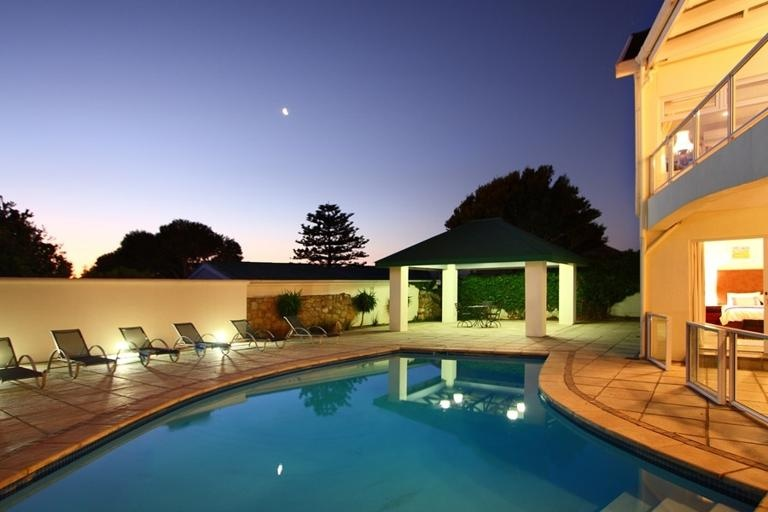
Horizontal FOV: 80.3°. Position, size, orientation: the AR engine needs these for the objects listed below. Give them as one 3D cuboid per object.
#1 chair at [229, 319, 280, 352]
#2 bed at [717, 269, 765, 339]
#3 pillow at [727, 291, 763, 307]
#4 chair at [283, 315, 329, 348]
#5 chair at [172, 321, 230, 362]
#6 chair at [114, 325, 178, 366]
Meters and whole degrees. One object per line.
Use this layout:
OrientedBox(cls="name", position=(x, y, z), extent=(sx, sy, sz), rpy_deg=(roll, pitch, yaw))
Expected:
OrientedBox(cls="chair", position=(-4.114, 2.558, 14.880), extent=(1.565, 1.152, 2.308), rpy_deg=(-1, 8, -14))
OrientedBox(cls="bed", position=(10.596, 1.382, 13.249), extent=(1.569, 1.530, 2.299), rpy_deg=(-2, -3, 35))
OrientedBox(cls="pillow", position=(10.769, 1.340, 13.674), extent=(0.775, 0.417, 1.393), rpy_deg=(6, 10, 34))
OrientedBox(cls="chair", position=(-2.817, 2.660, 15.734), extent=(1.509, 0.720, 0.908), rpy_deg=(-2, -4, 21))
OrientedBox(cls="chair", position=(-5.268, 2.475, 13.144), extent=(1.766, 1.009, 1.010), rpy_deg=(-1, -1, 33))
OrientedBox(cls="chair", position=(-6.303, 2.419, 12.275), extent=(1.850, 1.072, 1.027), rpy_deg=(-1, -1, 40))
